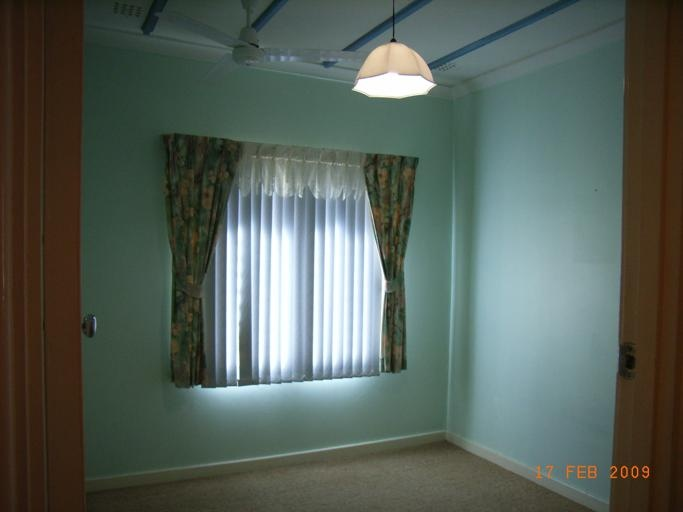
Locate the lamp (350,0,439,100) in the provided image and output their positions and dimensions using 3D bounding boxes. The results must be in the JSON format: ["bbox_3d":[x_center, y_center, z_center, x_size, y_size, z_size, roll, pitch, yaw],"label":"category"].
[{"bbox_3d":[0.240,-0.965,2.621,0.292,0.350,0.319,0,5,-5],"label":"lamp"}]
